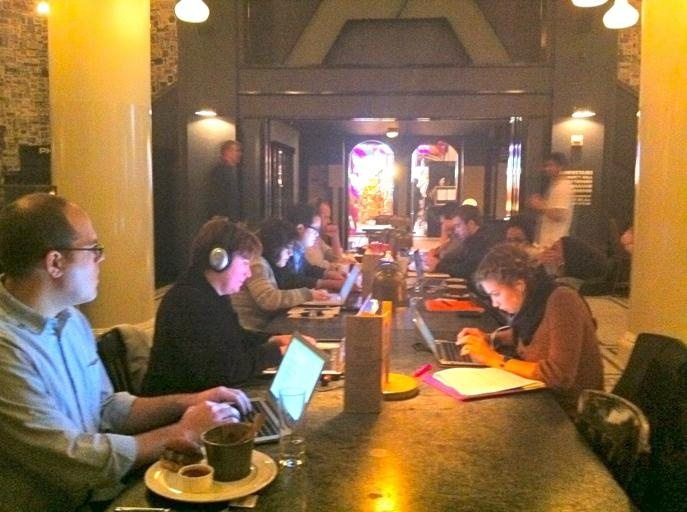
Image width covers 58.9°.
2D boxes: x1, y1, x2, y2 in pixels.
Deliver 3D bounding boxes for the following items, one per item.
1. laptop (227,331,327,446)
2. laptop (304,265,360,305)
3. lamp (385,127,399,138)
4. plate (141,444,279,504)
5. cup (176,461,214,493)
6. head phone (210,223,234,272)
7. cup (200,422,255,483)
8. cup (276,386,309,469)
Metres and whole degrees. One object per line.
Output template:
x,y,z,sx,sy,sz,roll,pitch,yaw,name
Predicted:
-0.189,0.421,2.032,0.310,0.254,0.389,8,9,-18,laptop
-0.035,0.204,4.057,0.268,0.170,0.288,2,5,-3,laptop
1.020,-2.579,12.634,0.250,0.163,0.264,-5,11,-18,lamp
-0.372,0.627,1.718,0.364,0.056,0.210,-2,8,-15,plate
-0.407,0.600,1.670,0.073,0.047,0.076,1,-3,0,cup
-0.506,-0.046,2.513,0.158,0.173,0.079,-1,11,-3,head phone
-0.323,0.532,1.698,0.145,0.113,0.157,-3,-2,0,cup
-0.152,0.507,1.812,0.082,0.215,0.092,0,9,-3,cup
